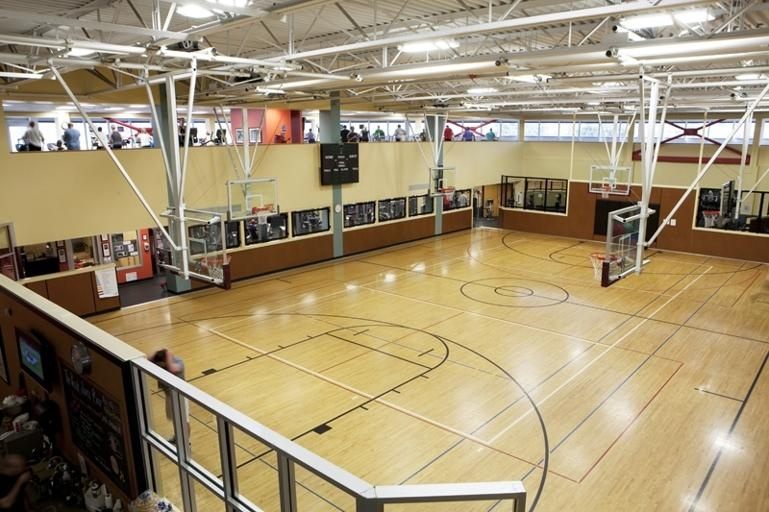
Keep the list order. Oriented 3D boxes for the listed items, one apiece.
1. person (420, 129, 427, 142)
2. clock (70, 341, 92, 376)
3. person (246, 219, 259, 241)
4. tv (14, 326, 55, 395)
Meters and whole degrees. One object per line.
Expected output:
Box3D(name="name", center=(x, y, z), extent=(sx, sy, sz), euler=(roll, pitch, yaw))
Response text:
Box3D(name="person", center=(1.806, -5.605, 23.900), extent=(0.529, 0.498, 0.950), euler=(3, 6, 6))
Box3D(name="clock", center=(-4.173, 1.394, 7.064), extent=(0.198, 0.505, 0.502), euler=(-4, 11, -38))
Box3D(name="person", center=(-4.668, -0.864, 18.046), extent=(0.106, 0.823, 0.458), euler=(12, 21, 41))
Box3D(name="tv", center=(-5.453, 1.603, 8.013), extent=(1.191, 0.843, 0.163), euler=(14, 24, 36))
